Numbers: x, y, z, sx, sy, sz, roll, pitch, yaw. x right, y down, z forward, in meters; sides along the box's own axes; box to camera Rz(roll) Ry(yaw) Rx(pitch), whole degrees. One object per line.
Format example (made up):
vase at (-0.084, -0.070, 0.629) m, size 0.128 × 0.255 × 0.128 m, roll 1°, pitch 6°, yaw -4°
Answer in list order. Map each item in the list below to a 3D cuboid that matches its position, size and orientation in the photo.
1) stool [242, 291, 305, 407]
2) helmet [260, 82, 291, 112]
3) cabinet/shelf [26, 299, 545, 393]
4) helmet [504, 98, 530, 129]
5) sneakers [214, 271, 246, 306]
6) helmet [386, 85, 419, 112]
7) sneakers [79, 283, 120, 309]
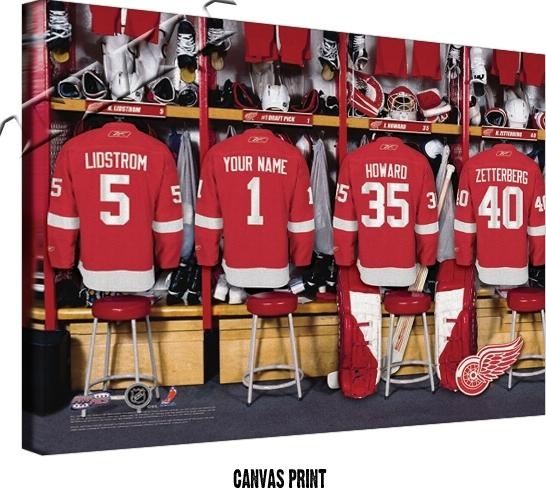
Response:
stool at (-0.018, 0.680, 3.581) m, size 0.406 × 0.683 × 0.338 m, roll -2°, pitch 1°, yaw 2°
helmet at (0.018, -0.994, 3.706) m, size 0.148 × 0.180 × 0.196 m, roll 2°, pitch 35°, yaw 8°
cabinet/shelf at (-0.046, 0.689, 3.649) m, size 3.399 × 0.562 × 0.565 m, roll 0°, pitch -3°, yaw -10°
helmet at (1.816, -0.971, 4.074) m, size 0.155 × 0.228 × 0.126 m, roll 0°, pitch -6°, yaw 5°
sneakers at (-0.293, 0.307, 3.663) m, size 0.180 × 0.209 × 0.468 m, roll 2°, pitch -7°, yaw -1°
helmet at (0.923, -1.035, 3.900) m, size 0.159 × 0.150 × 0.192 m, roll -1°, pitch 4°, yaw 1°
sneakers at (-1.125, 0.354, 3.562) m, size 0.316 × 0.141 × 0.102 m, roll 5°, pitch 3°, yaw -3°
